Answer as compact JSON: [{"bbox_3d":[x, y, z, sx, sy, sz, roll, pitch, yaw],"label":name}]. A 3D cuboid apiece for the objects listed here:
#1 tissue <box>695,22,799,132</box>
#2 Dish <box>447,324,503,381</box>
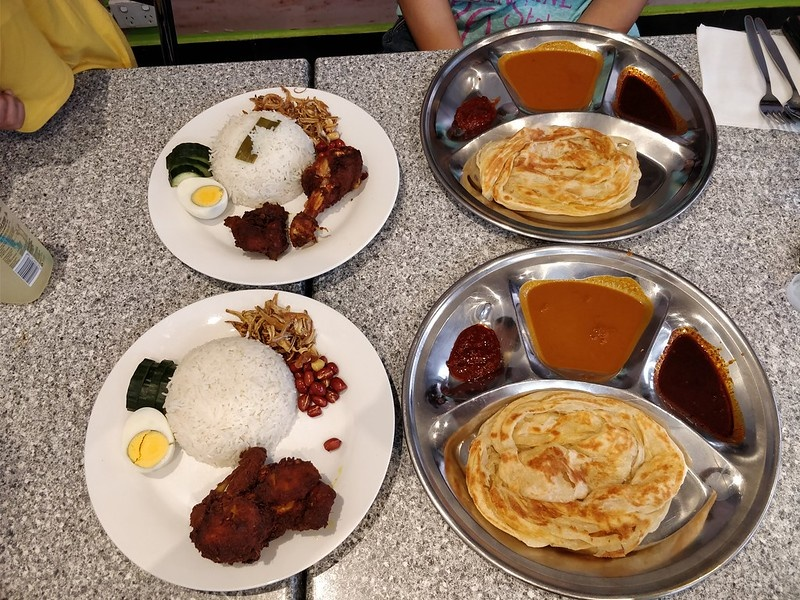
[{"bbox_3d":[1.846,-1.196,3.395,0.564,0.074,0.669,2,68,0],"label":"tissue"},{"bbox_3d":[0.347,0.223,2.876,0.257,0.310,0.077,8,34,-7],"label":"Dish"}]
